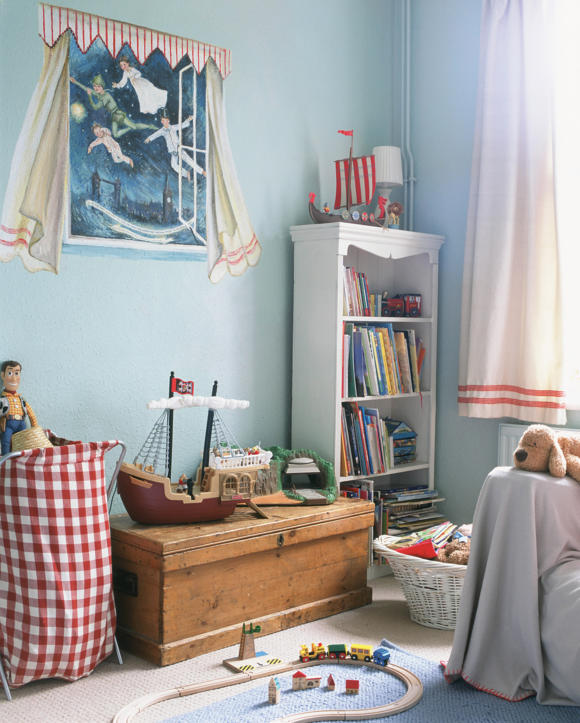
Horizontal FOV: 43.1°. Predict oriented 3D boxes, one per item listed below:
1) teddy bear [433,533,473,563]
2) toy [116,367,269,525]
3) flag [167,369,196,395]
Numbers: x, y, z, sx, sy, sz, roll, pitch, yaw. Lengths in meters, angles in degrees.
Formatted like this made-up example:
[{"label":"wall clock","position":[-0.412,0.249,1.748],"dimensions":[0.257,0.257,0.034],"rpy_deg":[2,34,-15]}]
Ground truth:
[{"label":"teddy bear","position":[0.636,0.726,2.836],"dimensions":[0.130,0.081,0.187],"rpy_deg":[3,-4,-4]},{"label":"toy","position":[-0.452,0.391,2.870],"dimensions":[0.313,0.730,0.740],"rpy_deg":[-4,-8,45]},{"label":"flag","position":[-0.418,0.073,2.869],"dimensions":[0.111,0.144,0.085],"rpy_deg":[0,5,-1]}]
